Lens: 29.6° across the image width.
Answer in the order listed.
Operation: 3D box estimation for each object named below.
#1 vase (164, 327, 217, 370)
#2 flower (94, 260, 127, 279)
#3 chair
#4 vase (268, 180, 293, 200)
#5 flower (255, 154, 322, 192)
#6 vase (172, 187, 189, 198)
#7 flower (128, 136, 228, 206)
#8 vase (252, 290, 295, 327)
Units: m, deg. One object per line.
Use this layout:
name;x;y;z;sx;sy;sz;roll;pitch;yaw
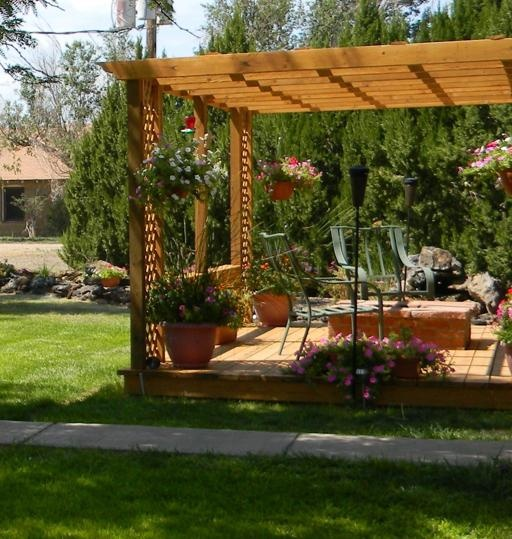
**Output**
vase;-0.490;0.551;6.886;0.323;0.250;0.331;0;-4;1
flower;-2.202;0.045;14.322;0.319;0.186;0.313;3;-3;-27
chair;0.719;0.153;8.264;1.771;1.285;0.888;-5;6;-39
vase;0.234;-0.755;9.275;0.185;0.177;0.318;2;3;36
flower;0.287;-0.919;9.406;0.332;0.316;1.001;2;3;35
vase;-0.532;-0.522;6.675;0.065;0.053;0.071;-2;-7;26
flower;-0.653;-0.656;6.831;0.528;0.385;0.534;-9;9;-36
vase;0.136;0.388;9.092;0.337;0.292;0.351;0;2;28
